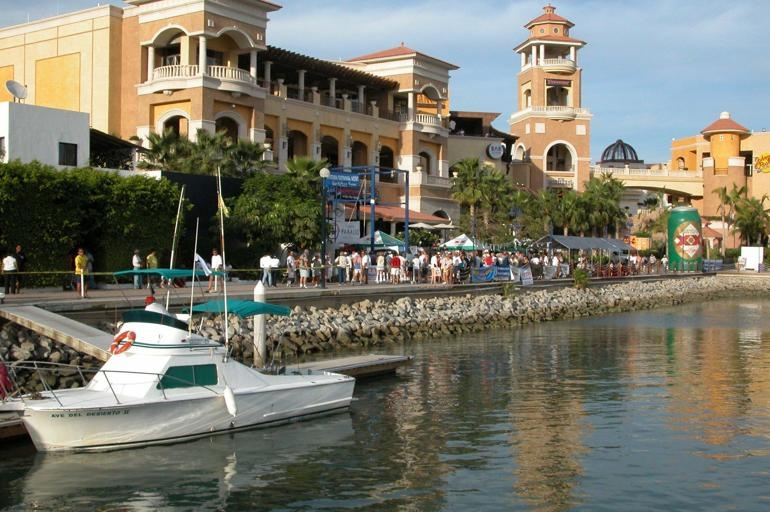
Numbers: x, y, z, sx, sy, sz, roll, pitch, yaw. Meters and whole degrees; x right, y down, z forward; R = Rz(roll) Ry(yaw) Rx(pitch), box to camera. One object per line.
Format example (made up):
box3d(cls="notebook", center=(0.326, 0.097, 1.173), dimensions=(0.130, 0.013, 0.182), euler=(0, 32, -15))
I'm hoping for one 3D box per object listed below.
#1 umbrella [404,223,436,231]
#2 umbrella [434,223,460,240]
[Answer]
box3d(cls="umbrella", center=(2.638, -2.232, 85.968), dimensions=(1.670, 0.584, 4.994), euler=(-1, -1, 4))
box3d(cls="umbrella", center=(4.929, -1.683, 90.873), dimensions=(1.572, 1.095, 1.609), euler=(-1, 3, -16))
